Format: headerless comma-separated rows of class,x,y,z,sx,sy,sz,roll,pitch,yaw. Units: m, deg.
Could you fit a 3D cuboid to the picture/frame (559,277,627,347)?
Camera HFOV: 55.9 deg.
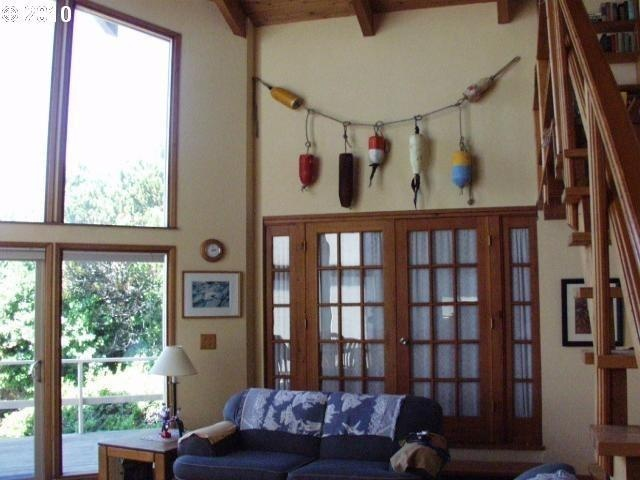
picture/frame,2.651,0.733,5.924,0.586,0.767,0.037,-3,-44,25
